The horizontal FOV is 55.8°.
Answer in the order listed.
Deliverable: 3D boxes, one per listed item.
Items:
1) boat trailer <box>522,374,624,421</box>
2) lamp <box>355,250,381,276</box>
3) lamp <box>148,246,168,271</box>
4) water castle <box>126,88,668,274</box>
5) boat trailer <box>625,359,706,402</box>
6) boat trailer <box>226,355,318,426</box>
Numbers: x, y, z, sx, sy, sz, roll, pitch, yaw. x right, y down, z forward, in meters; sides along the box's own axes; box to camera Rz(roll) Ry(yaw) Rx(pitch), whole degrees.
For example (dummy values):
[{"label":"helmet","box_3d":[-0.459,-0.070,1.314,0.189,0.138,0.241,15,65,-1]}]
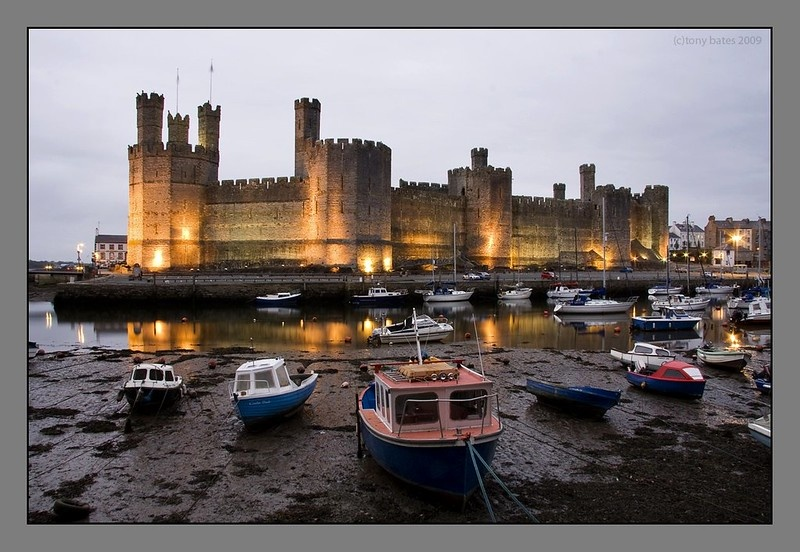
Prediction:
[{"label":"boat trailer","box_3d":[3.363,2.377,14.838,0.672,0.600,1.751,-2,3,-38]},{"label":"lamp","box_3d":[-1.769,-0.954,41.151,0.516,1.412,2.284,-1,3,26]},{"label":"lamp","box_3d":[-13.269,-1.058,41.639,1.076,1.323,0.321,-3,3,-15]},{"label":"water castle","box_3d":[5.038,-3.681,55.184,47.553,17.176,12.712,3,-2,-32]},{"label":"boat trailer","box_3d":[5.560,2.195,15.836,1.416,0.675,0.500,-1,3,27]},{"label":"boat trailer","box_3d":[-2.411,2.145,14.268,0.857,1.092,1.715,0,3,35]}]
